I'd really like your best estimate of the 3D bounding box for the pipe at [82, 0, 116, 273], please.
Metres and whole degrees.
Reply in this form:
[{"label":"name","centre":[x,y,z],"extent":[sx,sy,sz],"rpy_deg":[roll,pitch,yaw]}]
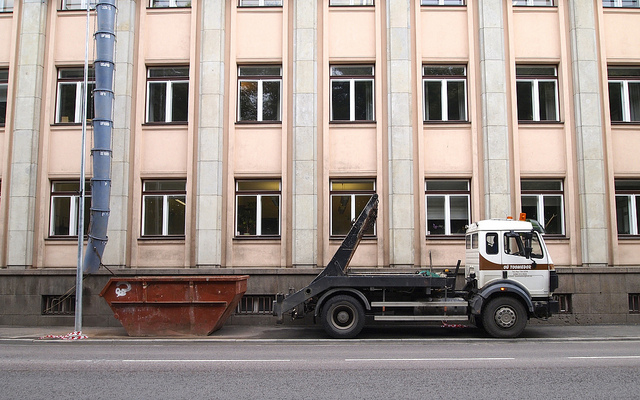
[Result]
[{"label":"pipe","centre":[-9.067,-2.549,34.413],"extent":[0.959,11.171,1.572],"rpy_deg":[2,8,16]}]
